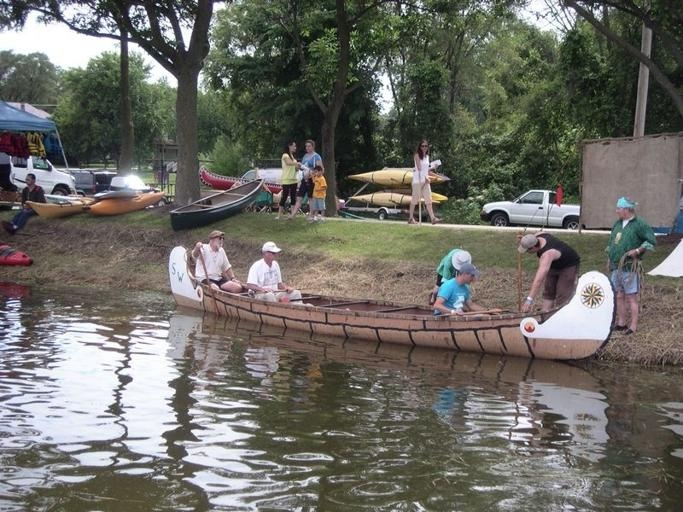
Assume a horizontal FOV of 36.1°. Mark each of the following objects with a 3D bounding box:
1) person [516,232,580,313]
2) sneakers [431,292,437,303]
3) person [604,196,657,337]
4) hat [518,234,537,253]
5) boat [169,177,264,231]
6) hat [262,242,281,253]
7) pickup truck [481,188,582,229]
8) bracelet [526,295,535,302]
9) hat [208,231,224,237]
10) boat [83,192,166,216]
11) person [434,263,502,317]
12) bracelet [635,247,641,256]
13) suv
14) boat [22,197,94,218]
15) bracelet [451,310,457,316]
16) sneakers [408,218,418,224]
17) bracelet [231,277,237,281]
[{"bbox_3d":[5.329,0.419,26.668,1.462,1.962,0.997,-2,4,-21],"label":"person"},{"bbox_3d":[2.548,1.177,28.868,0.089,0.240,0.173,4,-3,-3],"label":"sneakers"},{"bbox_3d":[7.379,0.280,27.190,1.048,3.538,1.098,-1,5,-13],"label":"person"},{"bbox_3d":[4.696,-0.317,26.580,0.264,0.499,0.338,44,9,-41],"label":"hat"},{"bbox_3d":[-4.512,-1.852,37.869,2.073,1.853,3.946,1,3,21],"label":"boat"},{"bbox_3d":[-1.977,-0.215,28.661,0.501,0.274,0.354,3,8,17],"label":"hat"},{"bbox_3d":[7.096,-1.720,40.171,3.637,1.435,1.684,5,5,24],"label":"pickup truck"},{"bbox_3d":[4.725,1.089,26.400,0.161,0.151,0.050,31,-14,36],"label":"bracelet"},{"bbox_3d":[-3.557,-0.587,29.564,0.362,0.165,0.254,-16,-2,28],"label":"hat"},{"bbox_3d":[-8.094,-1.987,39.766,0.833,0.511,2.531,1,13,43],"label":"boat"},{"bbox_3d":[3.097,0.871,27.276,1.474,1.367,1.121,1,4,22],"label":"person"},{"bbox_3d":[7.596,-0.097,26.743,0.165,0.191,0.315,2,4,34],"label":"bracelet"},{"bbox_3d":[-12.411,-3.443,44.600,3.783,2.051,2.045,4,10,22],"label":"suv"},{"bbox_3d":[-10.472,-1.734,38.745,0.786,0.581,2.087,14,17,39],"label":"boat"},{"bbox_3d":[2.938,1.469,27.232,0.162,0.087,0.197,0,3,-2],"label":"bracelet"},{"bbox_3d":[2.373,-1.150,35.118,0.374,0.260,0.124,-2,23,0],"label":"sneakers"},{"bbox_3d":[-3.099,0.700,30.216,0.134,0.043,0.127,25,20,-46],"label":"bracelet"}]
